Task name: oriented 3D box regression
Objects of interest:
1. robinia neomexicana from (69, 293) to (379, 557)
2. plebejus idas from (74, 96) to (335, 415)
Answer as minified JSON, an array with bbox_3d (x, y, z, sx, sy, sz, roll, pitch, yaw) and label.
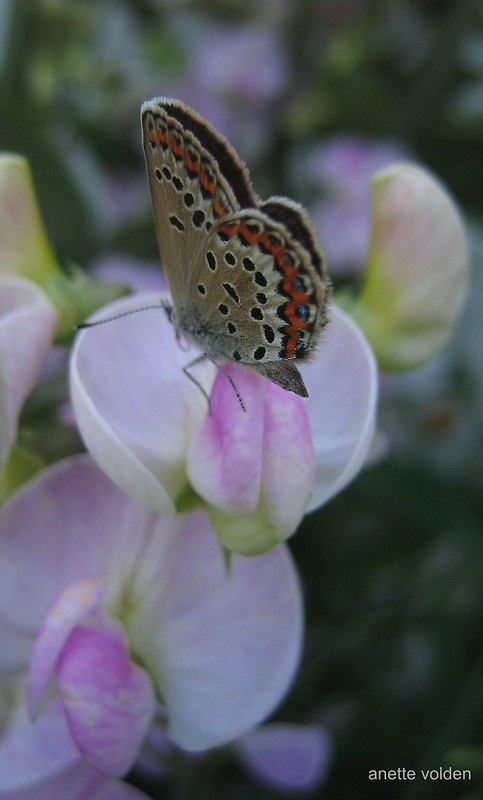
[{"bbox_3d":[-0.005,0.002,0.289,0.129,0.068,0.129,0,55,-4],"label":"robinia neomexicana"},{"bbox_3d":[-0.008,-0.056,0.347,0.104,0.129,0.096,16,85,-8],"label":"plebejus idas"}]
